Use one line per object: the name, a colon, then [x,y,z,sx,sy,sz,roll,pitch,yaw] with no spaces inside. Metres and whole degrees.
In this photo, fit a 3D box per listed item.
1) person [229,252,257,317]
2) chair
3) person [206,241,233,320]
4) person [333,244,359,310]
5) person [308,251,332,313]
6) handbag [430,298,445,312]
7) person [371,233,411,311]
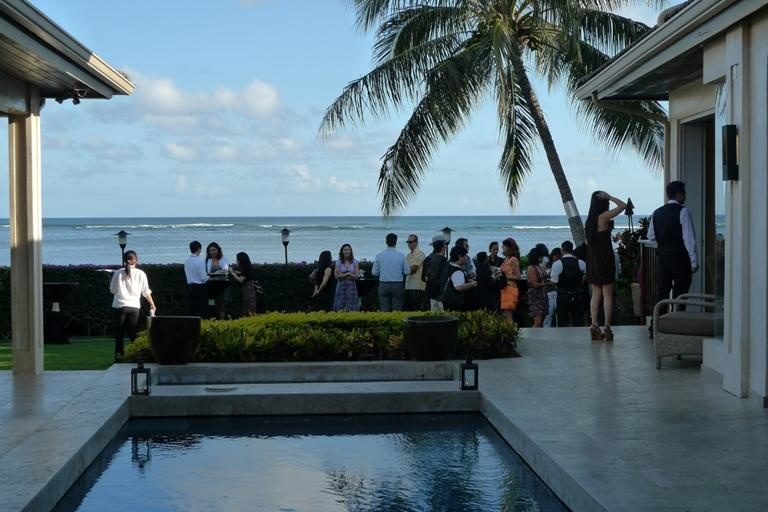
person: [-3.367,0.668,17.317,0.591,1.477,1.155,-2,-2,-9]
chair: [4.566,1.108,11.243,1.162,1.090,1.092,0,-1,6]
person: [-3.875,0.551,16.863,0.514,1.790,0.812,-2,-2,-16]
person: [-0.861,0.472,15.981,0.590,1.449,1.142,-2,-1,-3]
person: [-1.357,0.564,16.531,0.537,1.355,0.982,-2,-2,-19]
handbag: [1.059,1.012,14.917,0.274,0.402,0.210,-1,-7,6]
person: [0.128,0.328,15.641,0.820,1.705,1.558,-3,-1,0]
